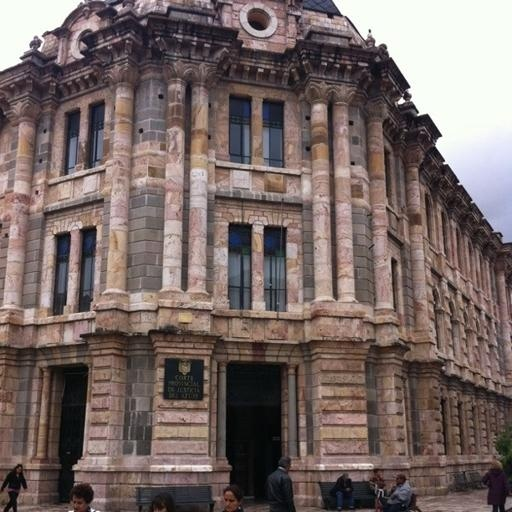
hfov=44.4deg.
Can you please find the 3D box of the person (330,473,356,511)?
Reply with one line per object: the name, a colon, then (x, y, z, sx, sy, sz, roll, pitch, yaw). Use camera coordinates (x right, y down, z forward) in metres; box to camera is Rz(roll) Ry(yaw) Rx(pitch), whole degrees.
person: (2.902, 7.916, 20.923, 0.744, 1.608, 1.074, 7, -26, -15)
